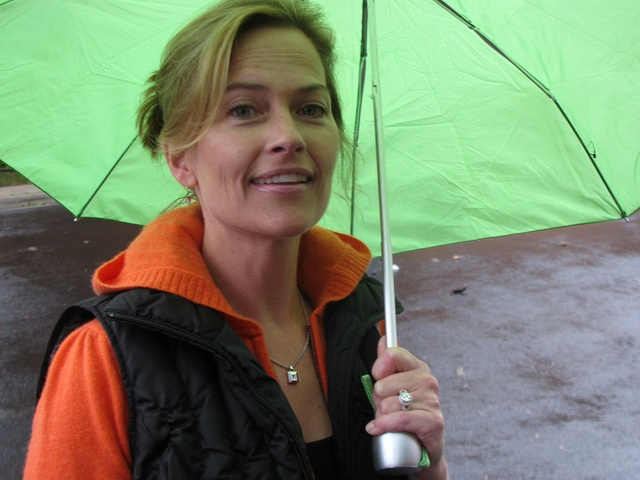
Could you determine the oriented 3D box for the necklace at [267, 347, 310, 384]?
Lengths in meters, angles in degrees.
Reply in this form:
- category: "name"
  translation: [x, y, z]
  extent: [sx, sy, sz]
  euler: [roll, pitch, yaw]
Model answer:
- category: "necklace"
  translation: [-0.150, 0.548, 2.800]
  extent: [0.150, 0.156, 0.017]
  euler: [-9, -17, -4]
